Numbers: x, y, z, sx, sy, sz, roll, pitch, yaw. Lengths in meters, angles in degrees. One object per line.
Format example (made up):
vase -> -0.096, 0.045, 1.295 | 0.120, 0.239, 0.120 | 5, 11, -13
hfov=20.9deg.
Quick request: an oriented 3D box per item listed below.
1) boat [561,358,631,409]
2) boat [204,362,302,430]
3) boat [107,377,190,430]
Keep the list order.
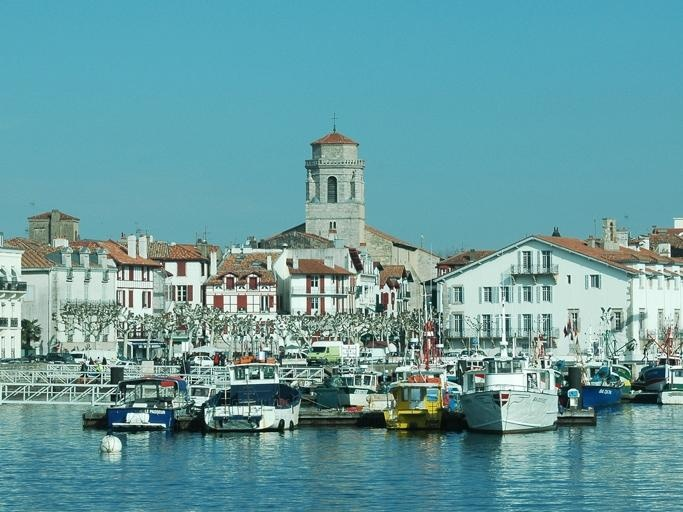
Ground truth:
boat -> 18.807, 9.635, 137.594 | 2.773, 2.273, 8.716 | -1, -9, 13
boat -> -6.694, 8.973, 117.850 | 4.934, 4.440, 6.893 | -6, -7, 4
boat -> -12.509, 9.468, 119.042 | 4.456, 3.834, 4.581 | -2, -9, 7
